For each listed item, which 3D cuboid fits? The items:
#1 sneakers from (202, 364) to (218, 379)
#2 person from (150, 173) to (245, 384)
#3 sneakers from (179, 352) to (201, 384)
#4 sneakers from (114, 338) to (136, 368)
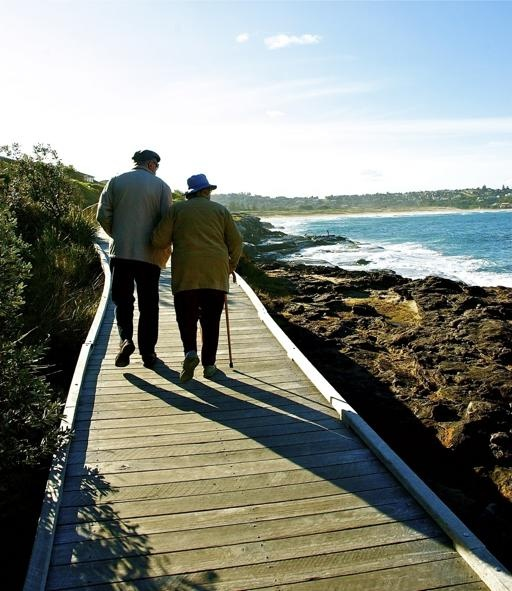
[{"bbox_3d":[-0.430,0.717,4.270,0.076,0.070,0.177,2,12,10],"label":"sneakers"},{"bbox_3d":[-0.540,-0.152,4.192,0.602,1.861,0.742,12,15,35],"label":"person"},{"bbox_3d":[-0.588,0.639,4.040,0.129,0.305,0.122,8,33,-24],"label":"sneakers"},{"bbox_3d":[-1.236,0.555,4.321,0.145,0.286,0.129,12,14,-26],"label":"sneakers"}]
